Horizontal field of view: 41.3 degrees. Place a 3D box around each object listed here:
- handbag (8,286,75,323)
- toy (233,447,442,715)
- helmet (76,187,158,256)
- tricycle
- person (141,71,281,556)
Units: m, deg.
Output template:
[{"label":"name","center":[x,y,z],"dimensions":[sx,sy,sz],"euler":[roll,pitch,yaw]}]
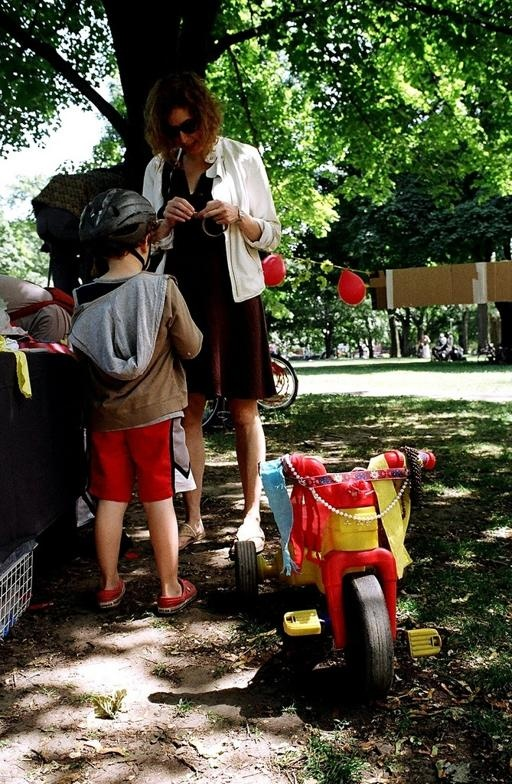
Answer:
[{"label":"handbag","center":[-1.129,-0.471,3.617],"dimensions":[0.182,0.177,0.356],"euler":[2,6,32]},{"label":"toy","center":[0.301,0.502,2.408],"dimensions":[0.643,0.637,1.207],"euler":[-2,8,-4]},{"label":"helmet","center":[-0.498,-0.611,2.468],"dimensions":[0.284,0.243,0.190],"euler":[-2,5,-15]},{"label":"tricycle","center":[0.275,0.533,2.393],"dimensions":[0.631,0.641,1.201],"euler":[1,1,-5]},{"label":"person","center":[-0.190,-0.328,2.970],"dimensions":[0.632,1.960,0.677],"euler":[-1,12,-17]}]
